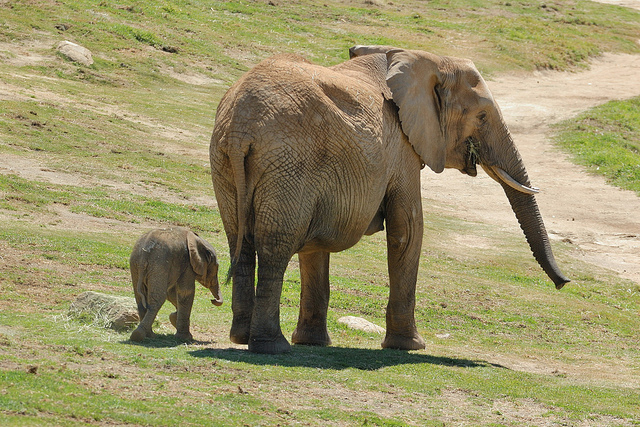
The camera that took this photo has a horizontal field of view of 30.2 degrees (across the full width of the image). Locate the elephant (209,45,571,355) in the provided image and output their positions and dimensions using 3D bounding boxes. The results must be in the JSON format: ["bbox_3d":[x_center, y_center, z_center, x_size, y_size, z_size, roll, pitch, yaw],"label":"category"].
[{"bbox_3d":[1.482,-0.422,30.546,11.038,7.268,4.038,-3,6,-42],"label":"elephant"}]

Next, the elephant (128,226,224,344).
[{"bbox_3d":[-3.492,1.632,27.898,2.299,2.556,1.026,2,10,-38],"label":"elephant"}]
